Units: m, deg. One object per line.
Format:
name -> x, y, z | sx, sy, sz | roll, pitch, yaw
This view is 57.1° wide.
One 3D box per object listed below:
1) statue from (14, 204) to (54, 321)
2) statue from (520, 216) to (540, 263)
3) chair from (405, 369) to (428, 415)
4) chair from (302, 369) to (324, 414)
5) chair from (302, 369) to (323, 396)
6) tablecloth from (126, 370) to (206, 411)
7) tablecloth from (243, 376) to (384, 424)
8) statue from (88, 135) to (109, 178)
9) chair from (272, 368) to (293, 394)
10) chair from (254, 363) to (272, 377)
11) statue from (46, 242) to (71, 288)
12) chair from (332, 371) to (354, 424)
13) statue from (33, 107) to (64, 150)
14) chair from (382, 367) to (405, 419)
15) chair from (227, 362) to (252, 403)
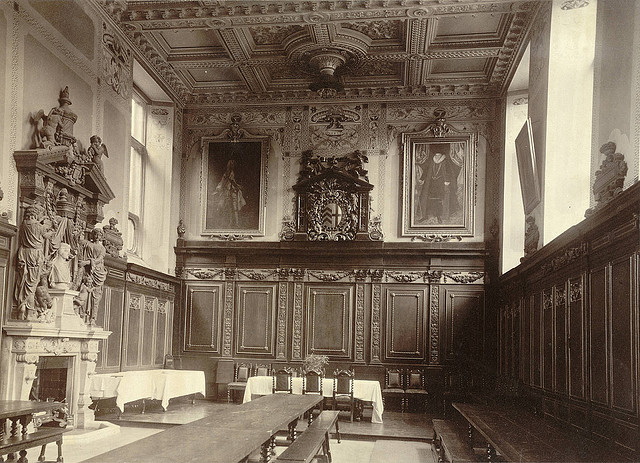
statue -> -5.206, 0.546, 10.649 | 0.543, 2.090, 0.388 | 7, -15, -36
statue -> 4.540, 0.143, 12.674 | 0.394, 1.049, 1.123 | -5, -13, 16
chair -> 2.586, 4.237, 15.697 | 0.580, 1.135, 0.657 | -4, -13, 10
chair -> -0.064, 3.706, 13.598 | 0.662, 0.976, 0.689 | 1, -8, 1
chair -> -0.171, 3.437, 13.401 | 0.445, 0.774, 0.493 | 1, -2, 6
tablecloth -> -3.717, 3.670, 13.880 | 1.012, 0.515, 1.361 | -4, -10, 20
tablecloth -> 0.218, 4.047, 15.240 | 3.588, 1.481, 2.112 | -1, -14, 7
statue -> -4.896, -1.699, 12.863 | 0.317, 1.049, 0.902 | 3, -13, -18
chair -> -0.840, 3.419, 13.564 | 0.472, 0.820, 0.497 | 1, -3, 6
chair -> -1.592, 3.836, 16.293 | 0.326, 0.459, 0.348 | 1, -21, 0
statue -> -4.994, 0.633, 11.134 | 0.311, 0.935, 0.691 | -4, -10, 10
chair -> 0.547, 3.793, 13.667 | 0.544, 1.147, 0.602 | 0, -3, 12
statue -> -5.241, -2.079, 11.335 | 0.278, 0.833, 0.497 | -5, -13, 15
chair -> 1.993, 4.236, 15.782 | 0.591, 1.127, 0.684 | -3, -13, 9
chair -> -2.195, 4.126, 16.079 | 0.656, 1.036, 0.719 | 3, -10, -8
